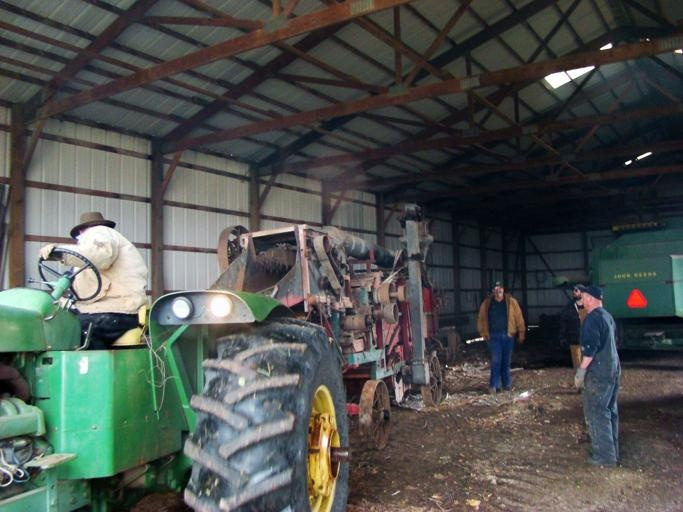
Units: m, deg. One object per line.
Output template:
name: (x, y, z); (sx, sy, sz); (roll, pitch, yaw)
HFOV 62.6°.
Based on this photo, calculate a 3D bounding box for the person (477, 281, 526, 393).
person: (3.141, 1.560, 11.008); (0.870, 2.136, 0.628); (-2, -1, 17)

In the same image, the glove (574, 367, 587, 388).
glove: (2.996, 1.527, 7.075); (0.151, 0.278, 0.067); (4, 10, -32)

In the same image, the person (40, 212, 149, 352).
person: (-2.347, 0.457, 5.293); (0.884, 1.604, 1.080); (5, -36, -19)

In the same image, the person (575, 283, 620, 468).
person: (3.261, 1.489, 7.130); (0.501, 2.394, 0.525); (-2, -1, 28)
